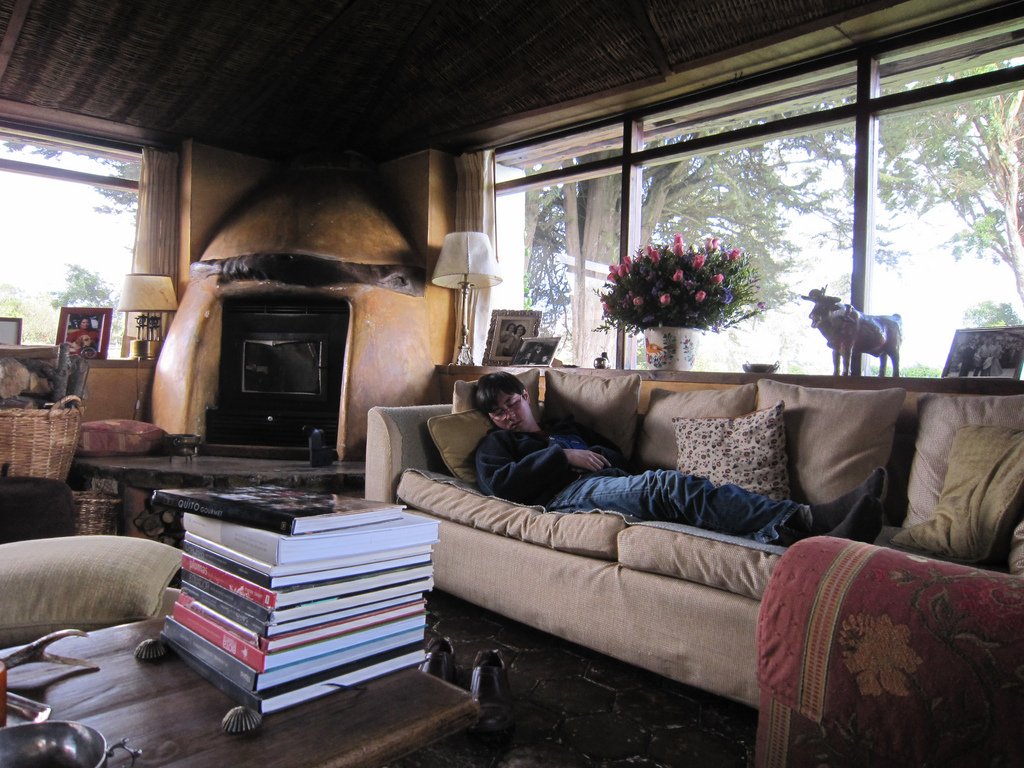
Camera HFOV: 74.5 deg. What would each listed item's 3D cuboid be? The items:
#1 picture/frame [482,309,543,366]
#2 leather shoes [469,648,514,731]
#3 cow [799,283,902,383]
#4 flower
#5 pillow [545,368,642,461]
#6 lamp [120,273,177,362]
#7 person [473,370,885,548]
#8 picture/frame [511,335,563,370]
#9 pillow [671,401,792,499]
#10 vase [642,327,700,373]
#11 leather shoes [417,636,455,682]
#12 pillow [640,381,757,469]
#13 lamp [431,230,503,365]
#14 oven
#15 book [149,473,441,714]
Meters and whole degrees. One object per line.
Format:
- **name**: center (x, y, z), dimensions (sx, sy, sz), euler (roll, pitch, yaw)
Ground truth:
- **picture/frame**: center (0.008, -0.301, 4.356), dimensions (0.393, 0.417, 0.045), euler (-4, -19, 34)
- **leather shoes**: center (-0.062, 0.856, 1.943), dimensions (0.132, 0.109, 0.304), euler (0, 1, -1)
- **cow**: center (1.513, -0.217, 2.997), dimensions (0.458, 0.341, 0.182), euler (9, -6, -4)
- **flower**: center (0.754, -0.488, 3.477), dimensions (0.506, 0.347, 0.478), euler (-10, 5, -4)
- **pillow**: center (0.368, 0.144, 3.080), dimensions (0.383, 0.281, 0.133), euler (3, -25, 40)
- **lamp**: center (-2.534, -0.459, 4.703), dimensions (0.335, 0.621, 0.567), euler (-1, 12, -27)
- **person**: center (0.544, 0.276, 2.532), dimensions (1.341, 0.520, 0.513), euler (-4, -9, 37)
- **picture/frame**: center (0.142, -0.205, 4.193), dimensions (0.282, 0.197, 0.029), euler (2, -32, 46)
- **pillow**: center (0.838, 0.246, 2.536), dimensions (0.320, 0.295, 0.118), euler (-7, -19, 38)
- **vase**: center (0.772, -0.174, 3.324), dimensions (0.220, 0.158, 0.224), euler (2, 2, 18)
- **leather shoes**: center (-0.219, 0.742, 1.910), dimensions (0.080, 0.095, 0.240), euler (2, 0, -8)
- **pillow**: center (0.838, 0.190, 2.881), dimensions (0.184, 0.353, 0.495), euler (-22, 10, -37)
- **lamp**: center (-0.319, -0.577, 4.608), dimensions (0.458, 0.933, 0.616), euler (4, 11, -6)
- **oven**: center (-1.482, -0.077, 4.428), dimensions (0.951, 0.913, 0.484), euler (1, -2, 4)
- **book**: center (-0.409, 0.294, 1.275), dimensions (0.375, 0.282, 0.446), euler (1, 1, -38)
